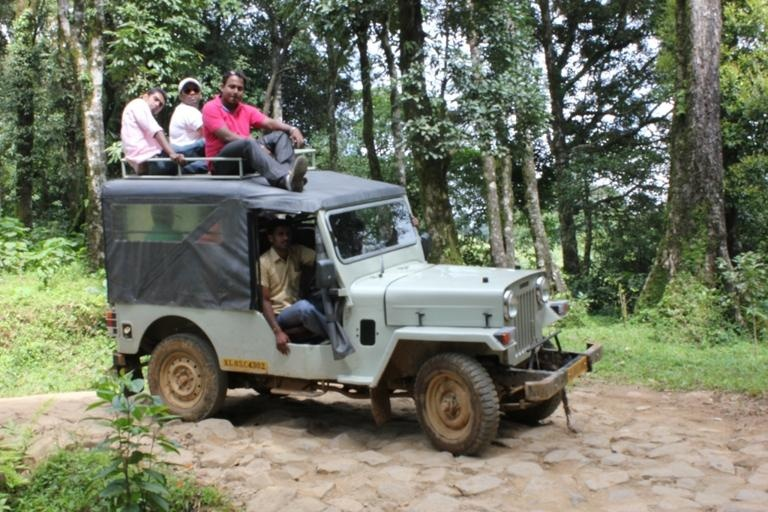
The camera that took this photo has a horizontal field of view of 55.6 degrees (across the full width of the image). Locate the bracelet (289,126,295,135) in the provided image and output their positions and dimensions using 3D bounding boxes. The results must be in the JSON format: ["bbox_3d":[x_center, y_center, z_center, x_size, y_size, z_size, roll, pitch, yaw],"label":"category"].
[{"bbox_3d":[-1.590,-2.165,12.536,0.101,0.038,0.109,-16,36,-11],"label":"bracelet"}]

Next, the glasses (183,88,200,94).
[{"bbox_3d":[-3.487,-2.978,13.132,0.146,0.048,0.147,-7,3,-37],"label":"glasses"}]

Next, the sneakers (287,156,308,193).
[{"bbox_3d":[-1.368,-1.298,11.697,0.230,0.724,0.287,1,13,-37],"label":"sneakers"}]
